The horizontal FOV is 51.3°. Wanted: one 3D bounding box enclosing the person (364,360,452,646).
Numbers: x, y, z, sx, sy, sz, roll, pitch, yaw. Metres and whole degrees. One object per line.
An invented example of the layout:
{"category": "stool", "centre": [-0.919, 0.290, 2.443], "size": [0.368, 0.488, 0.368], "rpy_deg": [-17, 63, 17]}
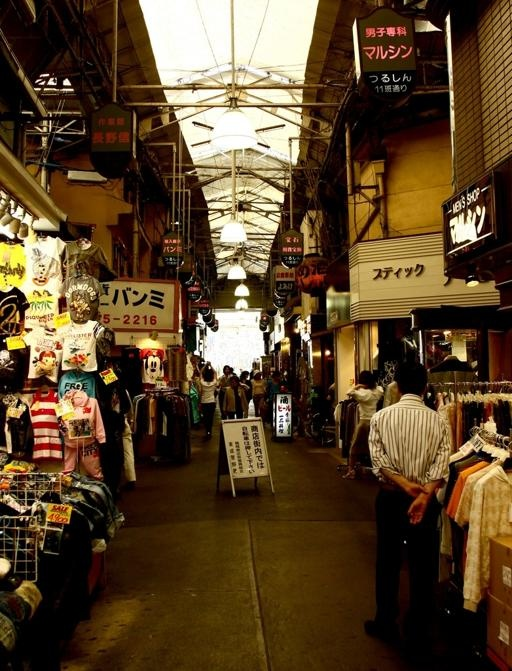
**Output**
{"category": "person", "centre": [0.948, 1.026, 3.298], "size": [0.462, 1.718, 0.562], "rpy_deg": [1, -1, 35]}
